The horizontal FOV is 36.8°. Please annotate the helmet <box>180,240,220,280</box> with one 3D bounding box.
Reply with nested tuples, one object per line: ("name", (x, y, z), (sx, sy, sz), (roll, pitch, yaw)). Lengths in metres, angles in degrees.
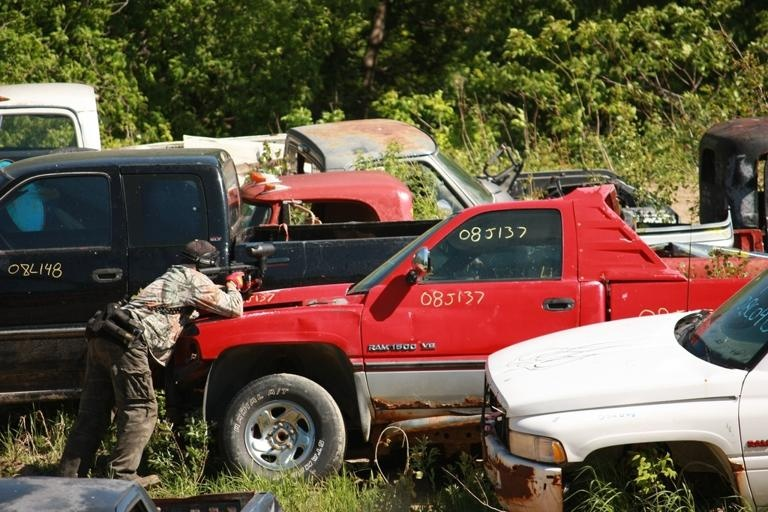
("helmet", (-2.215, 0.006, 13.932), (0.489, 0.453, 0.445), (17, 3, -8))
